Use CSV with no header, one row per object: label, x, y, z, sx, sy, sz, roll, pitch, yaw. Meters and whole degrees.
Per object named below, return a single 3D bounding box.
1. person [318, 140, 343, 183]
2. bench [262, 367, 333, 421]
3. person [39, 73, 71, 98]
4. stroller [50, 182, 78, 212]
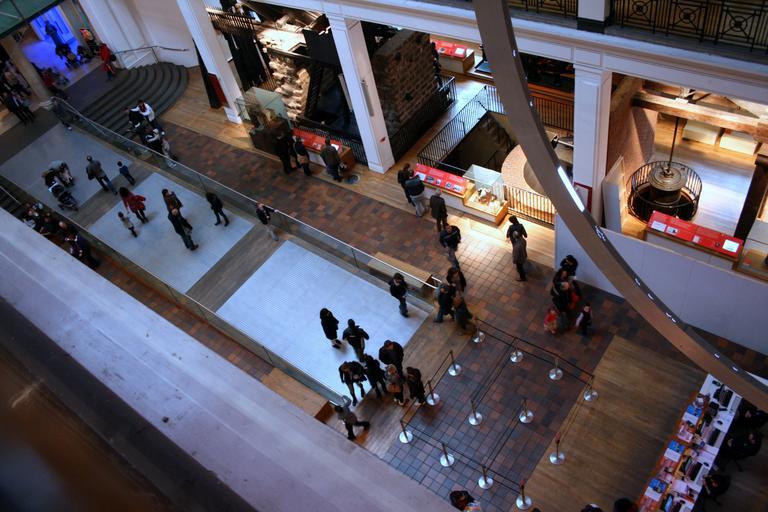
person,-1.853,-3.368,18.468,0.595,0.412,1.744,4,-39,12
bench,-2.236,3.464,13.393,2.030,0.861,0.583,20,-17,37
person,-15.548,-7.983,24.500,1.587,0.567,0.640,40,-27,63
stroller,-12.226,-2.189,19.786,1.084,0.536,0.620,45,-12,7
